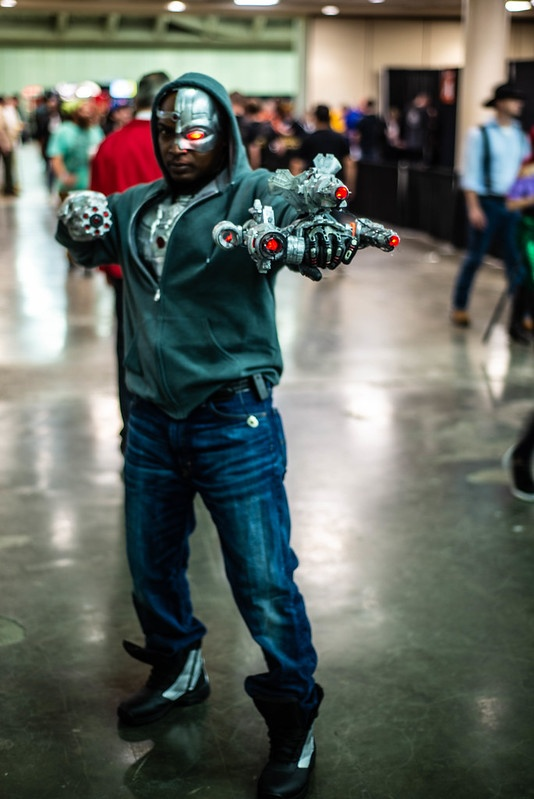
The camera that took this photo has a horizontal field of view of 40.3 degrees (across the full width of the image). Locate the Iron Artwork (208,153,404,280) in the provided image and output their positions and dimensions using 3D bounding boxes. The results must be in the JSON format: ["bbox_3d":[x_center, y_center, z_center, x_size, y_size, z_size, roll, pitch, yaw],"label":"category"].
[{"bbox_3d":[0.073,-0.318,1.297,0.357,0.187,0.278,-9,23,-24],"label":"Iron Artwork"}]

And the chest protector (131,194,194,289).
[{"bbox_3d":[-0.197,-0.355,1.621,0.146,0.183,0.094,2,-9,45],"label":"chest protector"}]

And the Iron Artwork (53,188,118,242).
[{"bbox_3d":[-0.382,-0.395,1.571,0.098,0.066,0.116,10,43,-24],"label":"Iron Artwork"}]

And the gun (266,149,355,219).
[{"bbox_3d":[0.075,-0.368,1.279,0.135,0.065,0.156,-10,27,-20],"label":"gun"}]

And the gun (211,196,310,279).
[{"bbox_3d":[-0.007,-0.267,1.214,0.124,0.091,0.160,7,9,-11],"label":"gun"}]

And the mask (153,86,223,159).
[{"bbox_3d":[-0.138,-0.575,1.538,0.117,0.142,0.139,9,38,14],"label":"mask"}]
